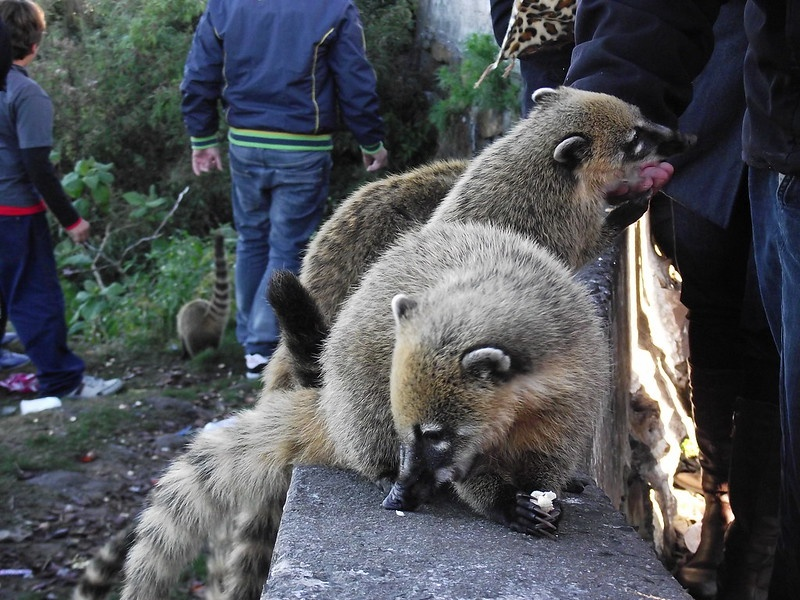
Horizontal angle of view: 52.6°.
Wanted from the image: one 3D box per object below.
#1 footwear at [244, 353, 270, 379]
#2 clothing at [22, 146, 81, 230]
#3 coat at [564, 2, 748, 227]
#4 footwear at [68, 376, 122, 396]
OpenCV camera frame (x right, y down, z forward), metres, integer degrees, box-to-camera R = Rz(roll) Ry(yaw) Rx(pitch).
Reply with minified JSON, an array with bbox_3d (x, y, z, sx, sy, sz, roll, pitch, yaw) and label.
[{"bbox_3d":[-1.155,0.538,6.465,0.188,0.269,0.406,0,-7,1],"label":"footwear"},{"bbox_3d":[-2.234,-0.738,5.200,0.138,0.406,0.298,-17,27,-13],"label":"clothing"},{"bbox_3d":[1.168,-0.766,3.651,0.521,1.399,0.756,2,12,1],"label":"coat"},{"bbox_3d":[-2.106,0.610,5.585,0.290,0.135,0.108,-11,18,-25],"label":"footwear"}]
